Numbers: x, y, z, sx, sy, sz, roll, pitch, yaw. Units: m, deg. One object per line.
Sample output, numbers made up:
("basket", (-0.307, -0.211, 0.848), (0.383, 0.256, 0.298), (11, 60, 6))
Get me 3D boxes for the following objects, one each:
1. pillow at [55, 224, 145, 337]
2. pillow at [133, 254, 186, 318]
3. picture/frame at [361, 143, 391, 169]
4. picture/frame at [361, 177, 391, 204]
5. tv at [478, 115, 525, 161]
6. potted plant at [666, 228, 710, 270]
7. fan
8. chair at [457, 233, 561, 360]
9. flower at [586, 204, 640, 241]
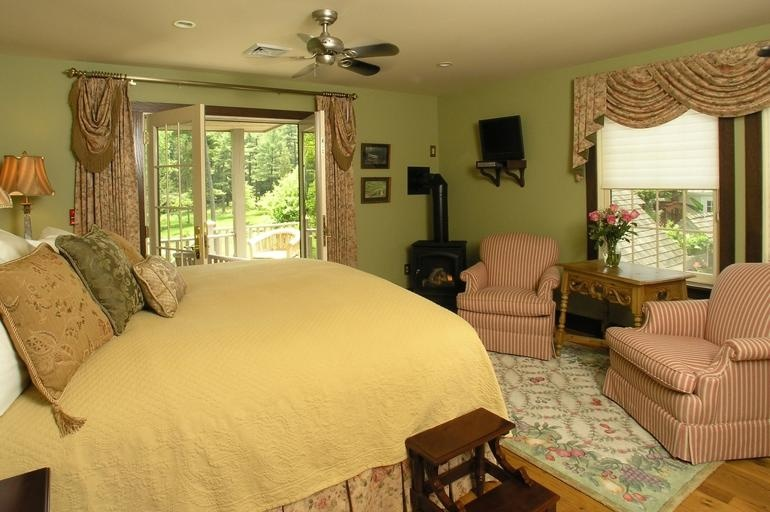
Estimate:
("pillow", (-1.640, 0.119, 3.121), (0.166, 0.541, 0.561), (-29, -9, 3))
("pillow", (-1.503, 0.192, 3.575), (0.297, 0.296, 0.726), (14, 4, -16))
("picture/frame", (-0.151, -1.327, 7.028), (0.373, 0.271, 0.028), (-3, 8, -32))
("picture/frame", (-0.152, -0.884, 7.071), (0.378, 0.277, 0.038), (-3, 8, -33))
("tv", (1.479, -1.458, 6.588), (0.551, 0.509, 0.216), (3, 22, 38))
("potted plant", (3.064, -0.067, 5.379), (0.354, 0.290, 0.391), (0, 4, 16))
("fan", (-0.565, -1.771, 4.468), (1.099, 0.407, 1.104), (-2, 8, -14))
("chair", (1.360, 0.383, 5.740), (0.990, 1.135, 1.029), (3, 9, 21))
("flower", (2.278, -0.307, 5.399), (0.517, 0.407, 0.505), (-4, -8, 44))
